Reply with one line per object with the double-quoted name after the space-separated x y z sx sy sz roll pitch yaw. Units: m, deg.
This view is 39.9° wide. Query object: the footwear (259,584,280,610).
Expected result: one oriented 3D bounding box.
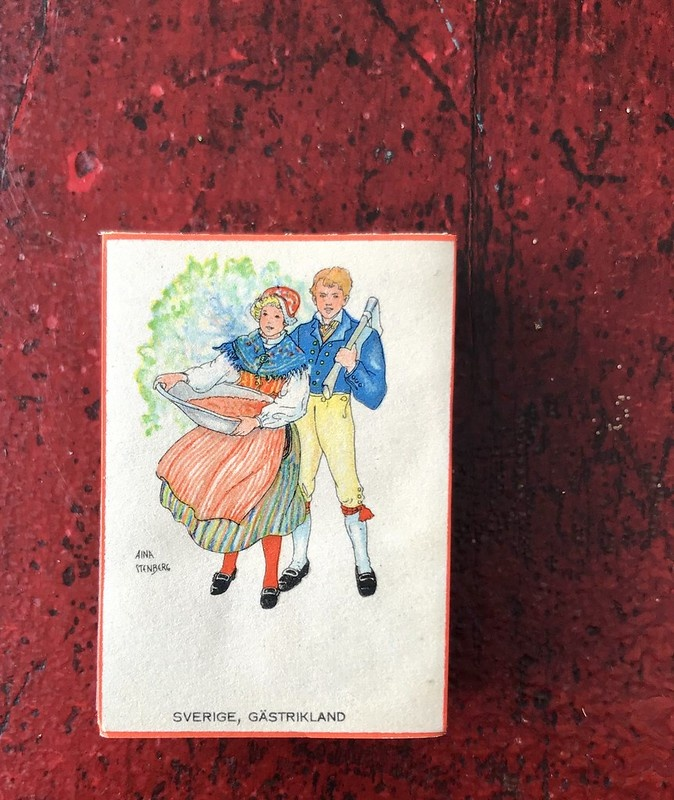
-0.059 0.176 0.831 0.019 0.006 0.022 -1 87 5 "footwear"
